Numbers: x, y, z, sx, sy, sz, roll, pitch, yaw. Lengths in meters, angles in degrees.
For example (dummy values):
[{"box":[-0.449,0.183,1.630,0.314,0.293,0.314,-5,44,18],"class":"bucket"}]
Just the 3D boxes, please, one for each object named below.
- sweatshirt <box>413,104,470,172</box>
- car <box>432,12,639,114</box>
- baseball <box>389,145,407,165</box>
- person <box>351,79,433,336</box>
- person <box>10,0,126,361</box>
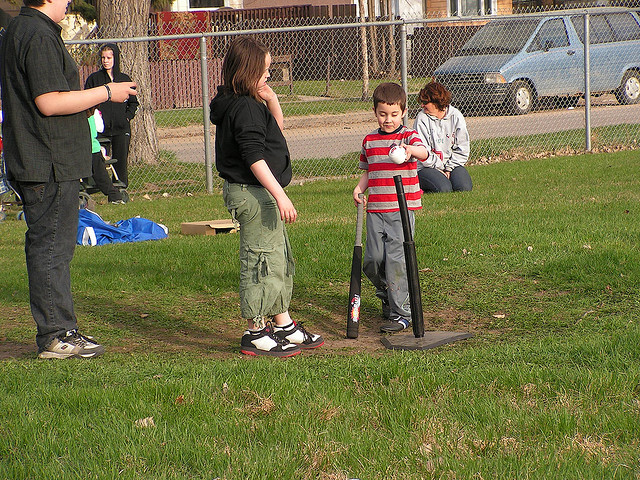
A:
[{"box":[1.514,-1.207,12.893,0.669,0.817,0.507,-2,14,-1],"class":"sweatshirt"},{"box":[4.227,-3.329,20.074,4.040,1.766,1.389,-7,15,-20],"class":"car"},{"box":[0.617,-0.647,8.179,0.134,0.147,0.136,-3,14,-4],"class":"baseball"},{"box":[0.553,-0.263,8.506,0.651,1.998,0.599,5,16,27],"class":"person"},{"box":[-1.933,-0.443,7.833,0.660,2.613,0.641,-12,17,-32],"class":"person"}]
